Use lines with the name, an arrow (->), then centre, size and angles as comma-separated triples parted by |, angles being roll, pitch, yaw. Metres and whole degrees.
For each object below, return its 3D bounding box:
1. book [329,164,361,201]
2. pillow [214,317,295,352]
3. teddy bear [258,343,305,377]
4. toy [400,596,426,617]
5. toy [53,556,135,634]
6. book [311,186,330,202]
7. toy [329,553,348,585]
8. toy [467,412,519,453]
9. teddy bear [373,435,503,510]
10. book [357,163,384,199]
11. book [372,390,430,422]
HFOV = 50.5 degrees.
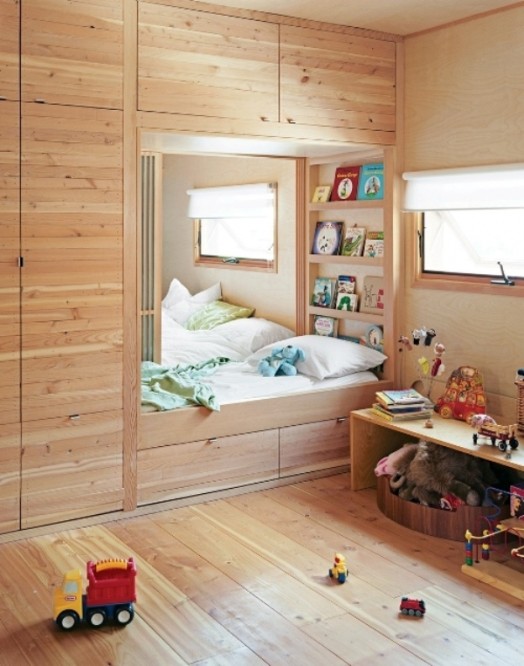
book -> 0.545, -0.984, 3.656 | 0.052, 0.242, 0.279 | 0, 2, -25
pillow -> -0.037, -0.003, 3.985 | 0.363, 0.096, 0.310 | -18, 17, -34
teddy bear -> 0.111, 0.170, 3.336 | 0.181, 0.092, 0.233 | 15, 34, 36
toy -> 0.487, 0.882, 1.793 | 0.079, 0.050, 0.049 | 0, 0, 8
toy -> -0.518, 0.825, 1.724 | 0.250, 0.177, 0.119 | 0, -2, -14
book -> 0.417, -0.962, 3.839 | 0.033, 0.121, 0.142 | 21, -12, -41
toy -> 0.284, 0.880, 2.057 | 0.058, 0.088, 0.106 | 0, 4, -13
toy -> 0.995, 0.415, 2.344 | 0.128, 0.115, 0.197 | -4, 5, -38
teddy bear -> 0.776, 0.636, 2.532 | 0.303, 0.112, 0.382 | -6, 7, -37
book -> 0.683, -0.940, 3.467 | 0.030, 0.233, 0.209 | -1, 2, -33
book -> 0.730, 0.362, 2.814 | 0.184, 0.059, 0.181 | -2, 8, -19
